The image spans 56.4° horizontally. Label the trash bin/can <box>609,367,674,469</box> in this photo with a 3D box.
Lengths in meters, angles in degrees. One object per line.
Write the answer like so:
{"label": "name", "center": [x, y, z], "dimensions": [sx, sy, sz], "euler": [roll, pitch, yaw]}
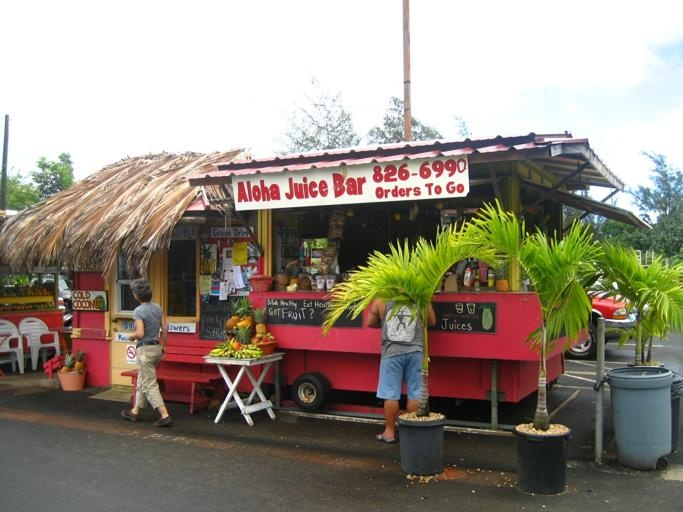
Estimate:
{"label": "trash bin/can", "center": [3.445, 1.914, 7.376], "dimensions": [0.676, 1.115, 0.308], "euler": [0, 2, 19]}

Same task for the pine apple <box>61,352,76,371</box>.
{"label": "pine apple", "center": [-5.124, 1.974, 11.946], "dimensions": [0.259, 0.287, 0.255], "euler": [-7, -14, 38]}

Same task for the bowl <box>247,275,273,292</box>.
{"label": "bowl", "center": [-1.276, 0.427, 10.051], "dimensions": [0.277, 0.184, 0.285], "euler": [0, -6, 0]}

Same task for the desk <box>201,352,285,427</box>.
{"label": "desk", "center": [-1.423, 1.988, 9.783], "dimensions": [1.049, 1.152, 1.122], "euler": [-1, -3, 24]}

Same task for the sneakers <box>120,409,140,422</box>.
{"label": "sneakers", "center": [-3.256, 2.458, 9.830], "dimensions": [0.303, 0.141, 0.131], "euler": [18, 4, 27]}

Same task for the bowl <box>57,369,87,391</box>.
{"label": "bowl", "center": [-5.028, 2.275, 11.841], "dimensions": [0.461, 0.389, 0.499], "euler": [-1, 2, 0]}

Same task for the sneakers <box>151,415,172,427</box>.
{"label": "sneakers", "center": [-2.640, 2.421, 9.410], "dimensions": [0.230, 0.164, 0.258], "euler": [-1, 2, -14]}

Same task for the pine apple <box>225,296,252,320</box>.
{"label": "pine apple", "center": [-1.661, 0.826, 10.317], "dimensions": [0.366, 0.497, 0.377], "euler": [2, -2, -12]}

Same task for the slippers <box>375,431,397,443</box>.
{"label": "slippers", "center": [0.573, 2.402, 8.424], "dimensions": [0.110, 0.093, 0.285], "euler": [2, 2, -32]}

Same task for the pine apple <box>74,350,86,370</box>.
{"label": "pine apple", "center": [-4.929, 1.956, 11.974], "dimensions": [0.178, 0.336, 0.212], "euler": [-1, 2, -17]}

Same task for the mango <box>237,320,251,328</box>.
{"label": "mango", "center": [-1.538, 1.039, 9.865], "dimensions": [0.159, 0.095, 0.258], "euler": [0, 2, 29]}

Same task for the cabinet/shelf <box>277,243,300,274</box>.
{"label": "cabinet/shelf", "center": [-0.886, 0.031, 10.763], "dimensions": [0.376, 0.503, 0.782], "euler": [-1, 2, -4]}

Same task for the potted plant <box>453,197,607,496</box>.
{"label": "potted plant", "center": [2.372, 0.929, 7.617], "dimensions": [1.323, 3.216, 1.877], "euler": [0, 2, 22]}

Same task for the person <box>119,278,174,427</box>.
{"label": "person", "center": [-2.968, 1.421, 9.613], "dimensions": [0.702, 2.181, 0.928], "euler": [-1, 2, -20]}
